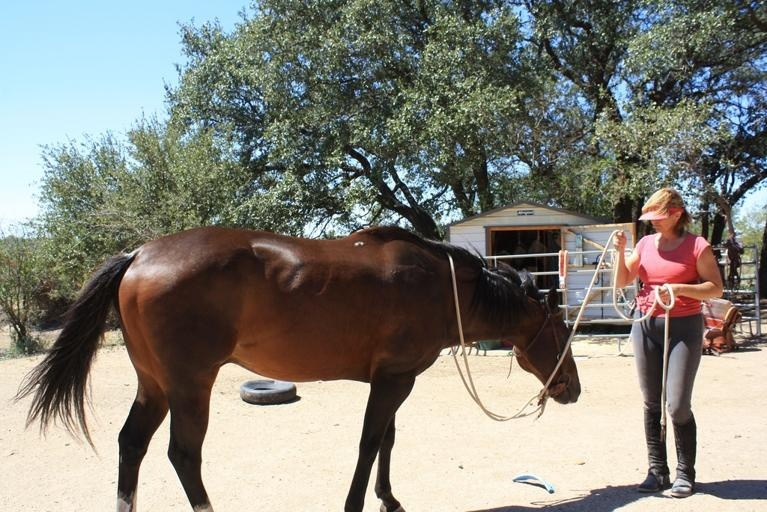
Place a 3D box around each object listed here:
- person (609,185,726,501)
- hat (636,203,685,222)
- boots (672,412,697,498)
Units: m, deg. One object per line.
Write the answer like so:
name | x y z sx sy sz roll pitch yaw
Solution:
person | 3.610 1.044 8.592 1.170 3.776 0.976 2 10 26
hat | 3.515 -0.511 8.579 0.517 0.225 0.309 6 -5 -17
boots | 3.754 2.485 8.456 0.266 0.941 0.440 2 9 25
